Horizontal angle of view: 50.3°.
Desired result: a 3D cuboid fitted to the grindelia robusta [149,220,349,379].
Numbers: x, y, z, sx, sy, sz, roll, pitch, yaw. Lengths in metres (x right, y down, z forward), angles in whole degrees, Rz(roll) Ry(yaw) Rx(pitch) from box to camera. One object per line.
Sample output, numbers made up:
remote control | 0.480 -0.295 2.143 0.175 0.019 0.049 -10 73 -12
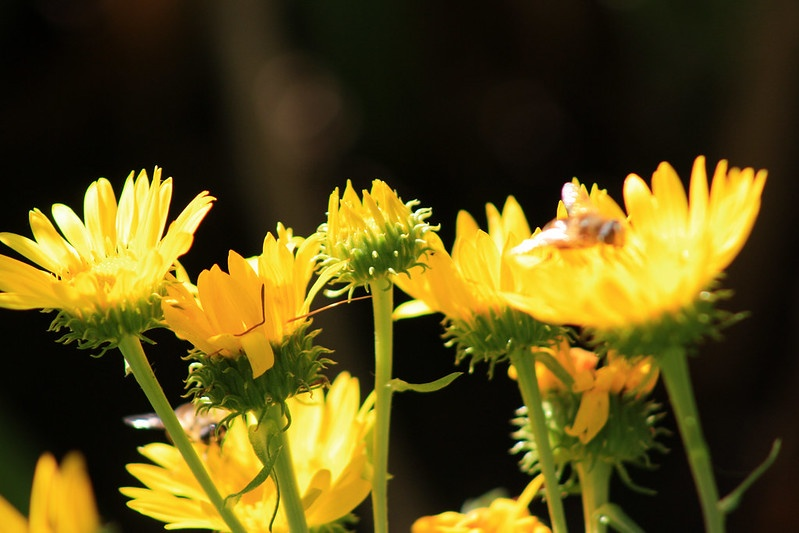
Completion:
grindelia robusta | -0.154 0.036 0.852 0.158 0.145 0.059 -5 10 -9

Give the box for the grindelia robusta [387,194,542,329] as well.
grindelia robusta | 0.078 0.013 0.899 0.159 0.082 0.165 -8 16 39

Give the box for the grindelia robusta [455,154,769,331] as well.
grindelia robusta | 0.234 -0.020 0.845 0.268 0.165 0.038 -5 10 -5

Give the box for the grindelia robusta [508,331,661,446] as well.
grindelia robusta | 0.206 0.129 0.883 0.116 0.104 0.042 -1 10 17
